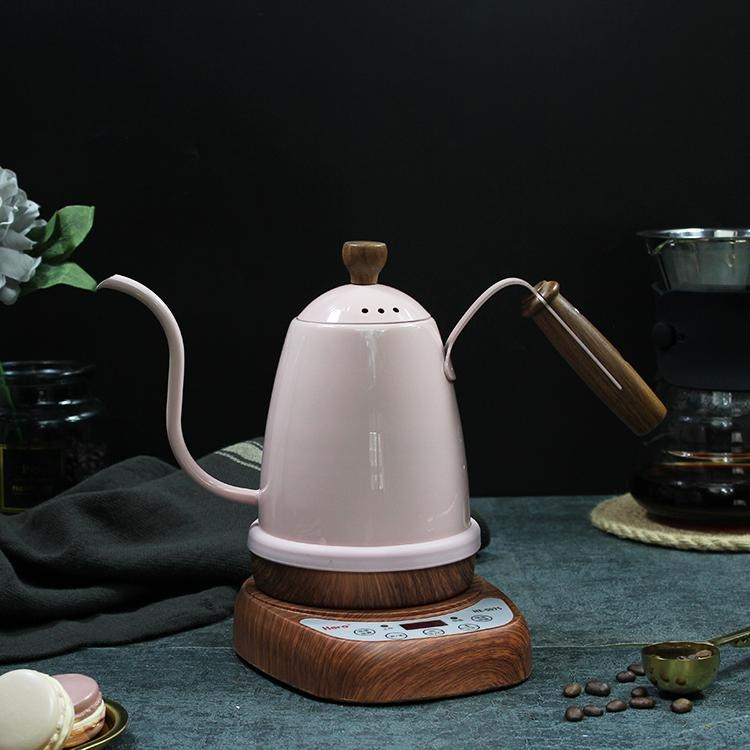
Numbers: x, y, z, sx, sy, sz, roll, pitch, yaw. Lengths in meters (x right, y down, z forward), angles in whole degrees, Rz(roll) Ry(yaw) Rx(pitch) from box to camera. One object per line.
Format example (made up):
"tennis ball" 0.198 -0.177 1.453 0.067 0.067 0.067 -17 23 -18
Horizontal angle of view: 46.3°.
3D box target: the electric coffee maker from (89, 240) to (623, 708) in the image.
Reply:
"electric coffee maker" 0.022 0.049 0.567 0.330 0.267 0.183 -4 9 -31

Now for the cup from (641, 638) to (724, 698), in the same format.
"cup" 0.180 0.172 0.516 0.044 0.018 0.039 -3 0 -26
